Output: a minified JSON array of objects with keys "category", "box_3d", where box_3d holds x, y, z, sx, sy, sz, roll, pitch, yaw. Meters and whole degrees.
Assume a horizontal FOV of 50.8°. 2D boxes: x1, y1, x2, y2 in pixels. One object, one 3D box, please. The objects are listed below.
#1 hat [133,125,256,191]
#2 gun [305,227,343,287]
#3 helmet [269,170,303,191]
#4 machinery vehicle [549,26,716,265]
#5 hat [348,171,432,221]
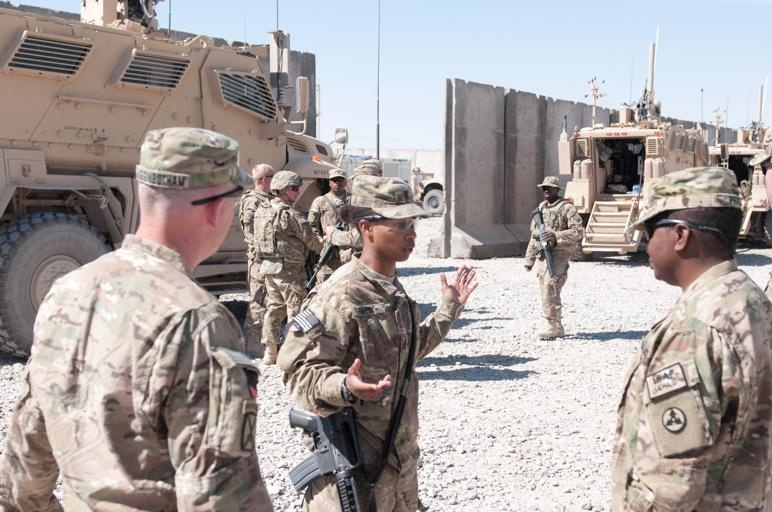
[{"category":"hat","box_3d":[-0.878,-0.452,3.727,0.381,0.187,0.281,-5,13,-32]},{"category":"gun","box_3d":[-0.603,0.003,7.905,0.094,0.584,0.197,31,-16,-31]},{"category":"helmet","box_3d":[-1.055,-0.800,8.608,0.255,0.164,0.207,-7,8,-20]},{"category":"machinery vehicle","box_3d":[5.787,-2.180,19.021,2.692,4.077,6.524,0,7,24]},{"category":"hat","box_3d":[-0.028,-0.324,4.615,0.332,0.184,0.282,2,3,22]}]
